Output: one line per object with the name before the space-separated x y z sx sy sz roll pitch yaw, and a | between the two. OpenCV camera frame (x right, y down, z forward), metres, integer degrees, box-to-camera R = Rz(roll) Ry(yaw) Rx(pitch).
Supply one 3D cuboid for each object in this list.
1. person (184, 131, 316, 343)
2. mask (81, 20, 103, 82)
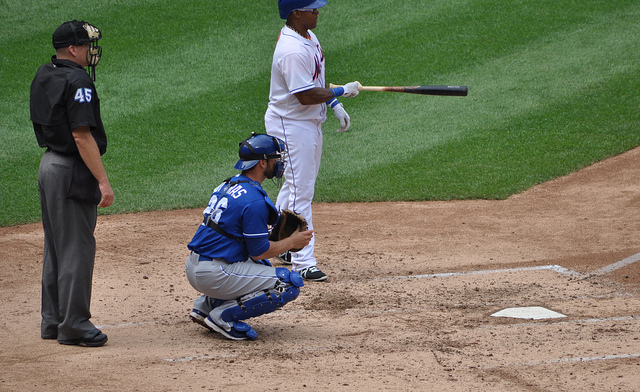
person | -0.955 0.517 13.043 1.481 2.488 0.892 -7 21 -18
mask | -2.910 -1.766 13.188 0.428 0.743 0.518 -7 14 -16
